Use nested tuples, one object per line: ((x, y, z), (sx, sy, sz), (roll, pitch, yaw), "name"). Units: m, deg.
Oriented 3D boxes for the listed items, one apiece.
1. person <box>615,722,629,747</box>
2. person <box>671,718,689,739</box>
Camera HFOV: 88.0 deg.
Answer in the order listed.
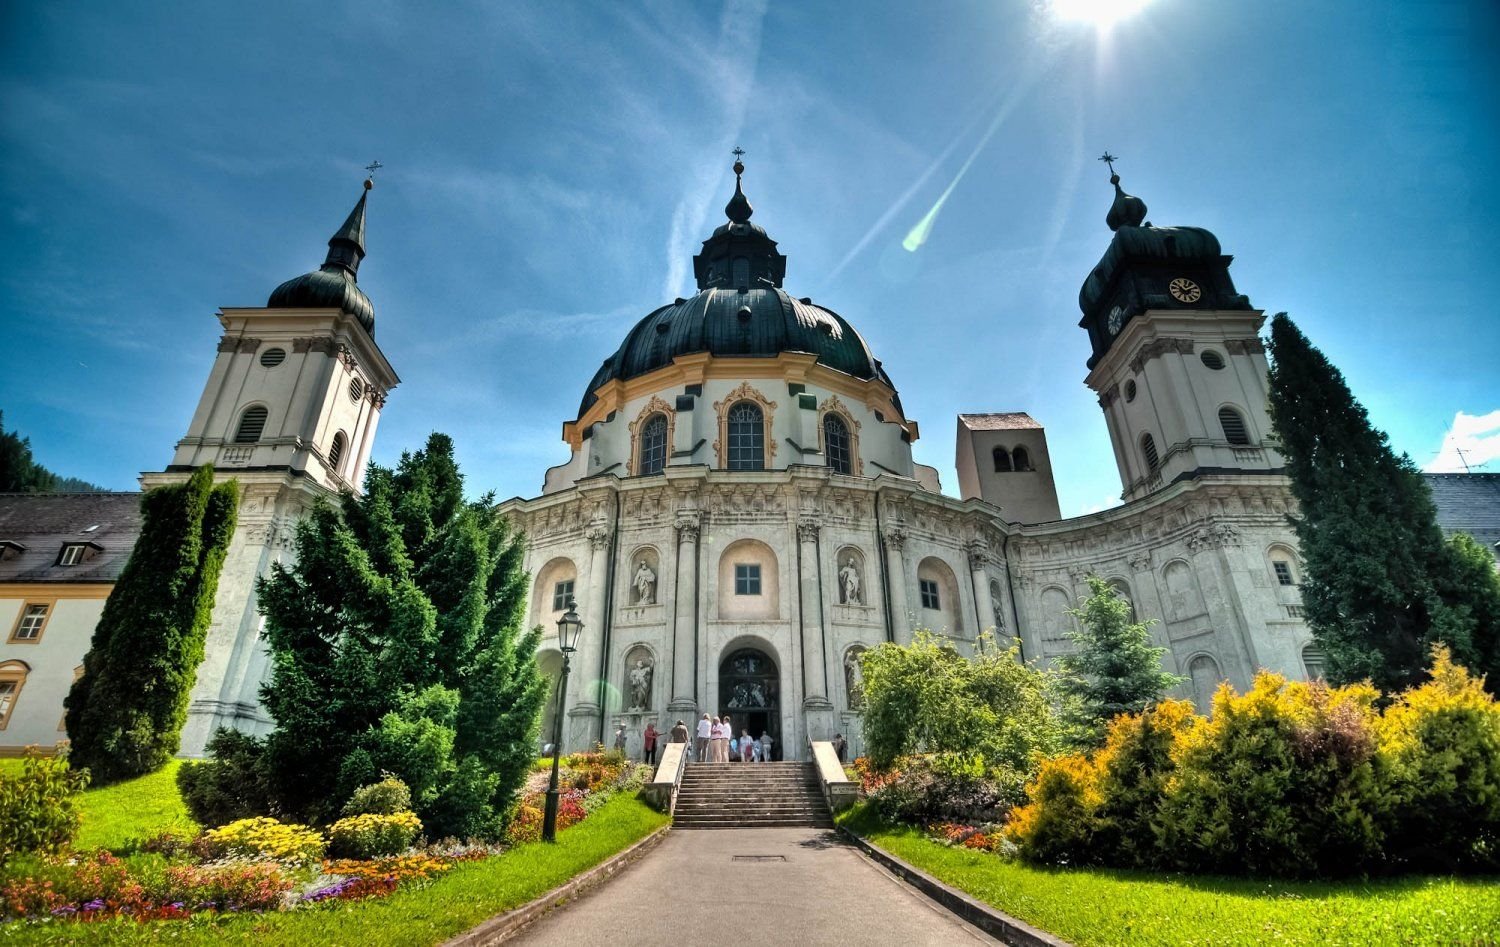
((-5.710, 11.593, 34.697), (0.589, 0.945, 1.133), (0, -5, -10), "person")
((-2.852, 10.425, 32.019), (0.883, 0.902, 0.514), (-3, -23, 10), "person")
